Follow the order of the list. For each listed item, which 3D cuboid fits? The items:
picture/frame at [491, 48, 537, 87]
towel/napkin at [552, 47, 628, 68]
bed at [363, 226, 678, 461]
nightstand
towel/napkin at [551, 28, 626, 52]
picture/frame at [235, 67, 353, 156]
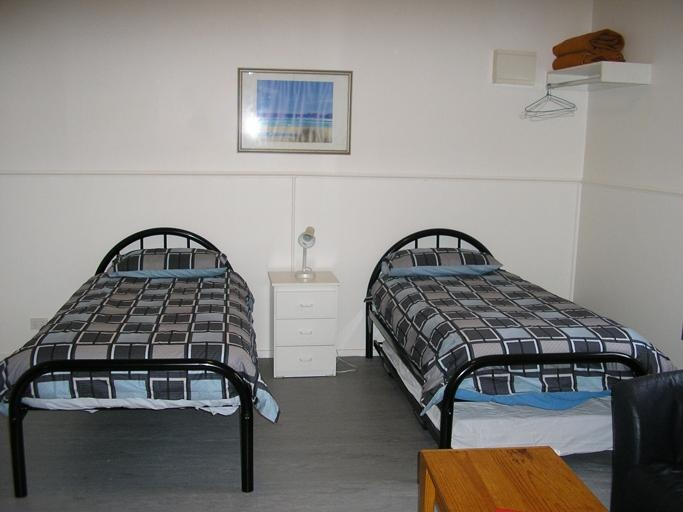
[{"bbox_3d":[1.433,-1.599,4.495,0.338,0.227,0.023,0,10,-9],"label":"picture/frame"},{"bbox_3d":[1.920,-1.513,4.079,0.274,0.097,0.336,-3,6,-12],"label":"towel/napkin"},{"bbox_3d":[0.840,0.344,3.531,1.206,0.800,1.640,-3,10,-9],"label":"bed"},{"bbox_3d":[-0.267,0.524,4.311,0.719,0.952,0.699,-1,6,-4],"label":"nightstand"},{"bbox_3d":[1.881,-1.640,4.176,0.271,0.121,0.339,-4,6,-15],"label":"towel/napkin"},{"bbox_3d":[-0.422,-1.198,4.322,0.764,0.522,0.027,0,6,-8],"label":"picture/frame"}]
